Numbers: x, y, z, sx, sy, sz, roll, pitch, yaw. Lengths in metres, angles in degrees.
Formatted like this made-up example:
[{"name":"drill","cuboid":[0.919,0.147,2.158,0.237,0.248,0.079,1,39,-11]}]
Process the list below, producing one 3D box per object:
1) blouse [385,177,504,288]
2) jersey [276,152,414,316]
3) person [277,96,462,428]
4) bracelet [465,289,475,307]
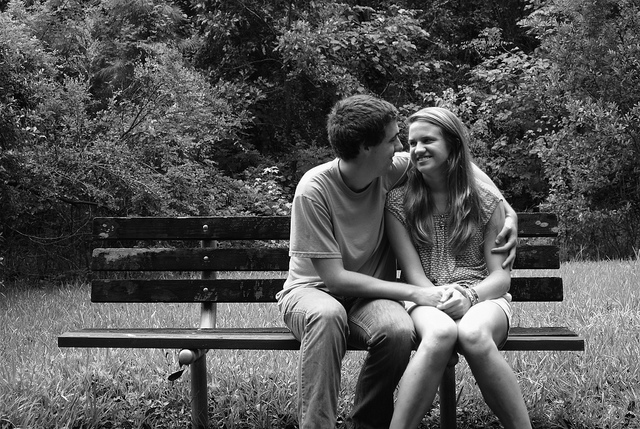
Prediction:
[{"name":"blouse","cuboid":[0.982,0.190,5.848,1.045,1.011,0.611,-1,-5,3]},{"name":"jersey","cuboid":[0.354,0.119,5.833,1.322,1.243,0.660,-4,4,-27]},{"name":"person","cuboid":[0.251,0.343,5.491,1.132,2.468,0.586,-1,-1,-4]},{"name":"bracelet","cuboid":[1.143,0.627,5.466,0.034,0.092,0.083,-12,-16,-8]}]
